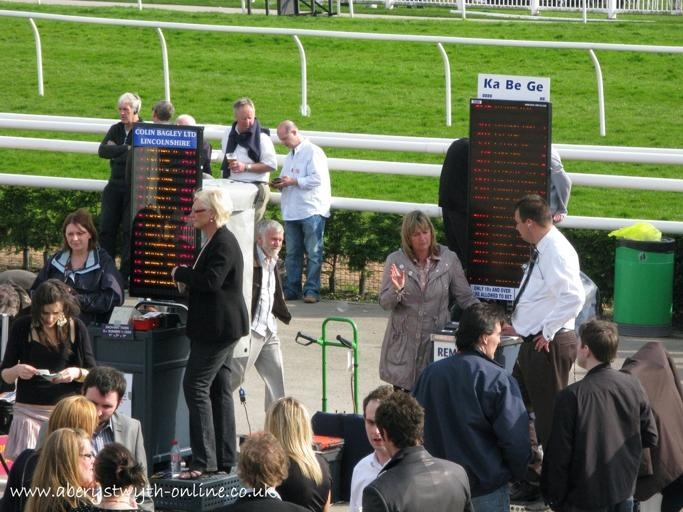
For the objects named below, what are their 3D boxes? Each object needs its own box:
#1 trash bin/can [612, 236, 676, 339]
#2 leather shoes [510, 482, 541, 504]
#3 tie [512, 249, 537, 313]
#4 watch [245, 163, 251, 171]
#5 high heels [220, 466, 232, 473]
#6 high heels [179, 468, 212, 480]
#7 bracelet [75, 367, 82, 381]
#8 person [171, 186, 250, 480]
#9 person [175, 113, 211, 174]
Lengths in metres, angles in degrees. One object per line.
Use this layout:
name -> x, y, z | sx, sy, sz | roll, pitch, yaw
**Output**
trash bin/can -> 3.650, 0.368, 22.124 | 1.032, 1.361, 0.987 | 1, 1, 1
leather shoes -> 1.956, 2.420, 19.398 | 0.419, 0.197, 0.141 | -3, 1, -7
tie -> 1.970, 0.202, 19.387 | 0.200, 0.701, 0.207 | 18, -14, -20
watch -> -1.128, -1.079, 22.475 | 0.065, 0.080, 0.082 | 0, 9, -3
high heels -> -1.202, 2.175, 19.312 | 0.094, 0.086, 0.074 | 4, -7, -18
high heels -> -1.495, 2.219, 19.116 | 0.303, 0.124, 0.105 | 7, 42, -16
bracelet -> -2.721, 1.188, 19.101 | 0.061, 0.120, 0.040 | -2, 9, -16
person -> -1.377, 0.757, 19.469 | 0.843, 2.899, 0.907 | 0, -1, 4
person -> -1.675, -1.332, 22.390 | 0.758, 0.756, 0.202 | 7, 15, 37
